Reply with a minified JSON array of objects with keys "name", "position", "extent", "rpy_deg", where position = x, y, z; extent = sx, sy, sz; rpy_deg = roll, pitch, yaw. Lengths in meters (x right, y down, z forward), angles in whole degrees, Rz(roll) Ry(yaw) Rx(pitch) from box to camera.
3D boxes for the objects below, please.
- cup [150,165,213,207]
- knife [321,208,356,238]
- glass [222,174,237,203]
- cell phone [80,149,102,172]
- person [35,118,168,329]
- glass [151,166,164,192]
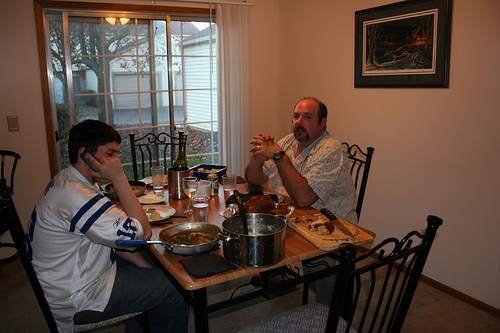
[{"name":"cup","position":[-0.440,0.155,2.512],"extent":[0.428,0.222,0.164],"rpy_deg":[3,-8,-44]},{"name":"knife","position":[0.553,0.364,2.179],"extent":[0.060,0.021,0.253],"rpy_deg":[-5,24,-19]},{"name":"glass","position":[-0.167,0.149,2.656],"extent":[0.168,0.241,0.164],"rpy_deg":[0,1,-4]},{"name":"cell phone","position":[-0.952,-0.039,2.028],"extent":[0.033,0.134,0.072],"rpy_deg":[-27,18,40]},{"name":"person","position":[-0.932,0.362,2.003],"extent":[0.612,1.212,0.484],"rpy_deg":[-13,18,-34]},{"name":"glass","position":[-0.783,0.104,2.857],"extent":[0.100,0.200,0.168],"rpy_deg":[-7,16,-15]}]
